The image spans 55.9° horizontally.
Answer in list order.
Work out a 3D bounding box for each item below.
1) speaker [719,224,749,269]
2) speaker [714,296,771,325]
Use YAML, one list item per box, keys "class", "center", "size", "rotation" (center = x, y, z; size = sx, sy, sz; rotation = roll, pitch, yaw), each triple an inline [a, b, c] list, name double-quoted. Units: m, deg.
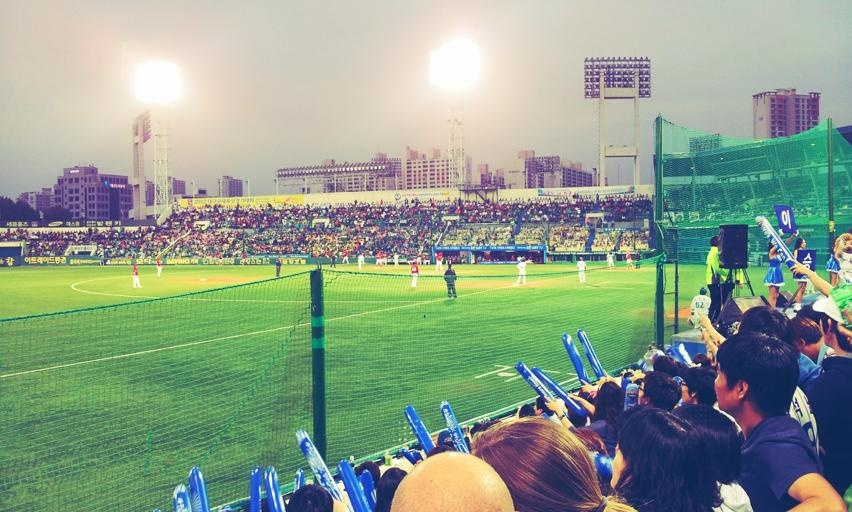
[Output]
- class: "speaker"
  center: [9.293, -0.243, 24.262]
  size: [0.952, 1.378, 0.344]
  rotation: [-5, 5, -23]
- class: "speaker"
  center: [8.921, 1.517, 22.785]
  size: [1.185, 0.795, 0.869]
  rotation: [0, 10, -33]
